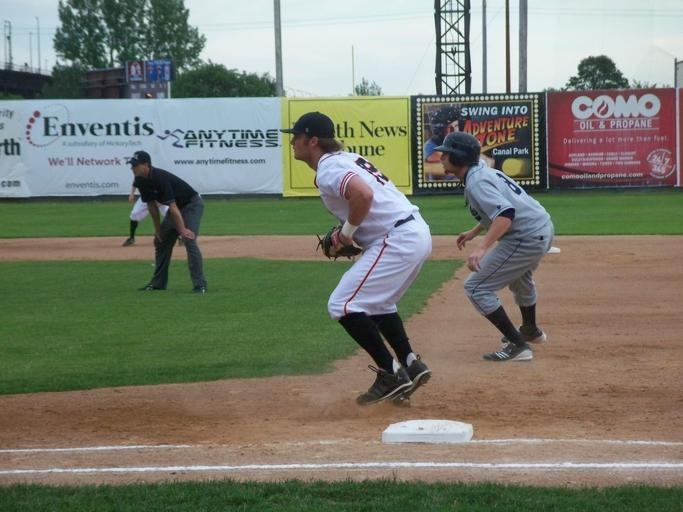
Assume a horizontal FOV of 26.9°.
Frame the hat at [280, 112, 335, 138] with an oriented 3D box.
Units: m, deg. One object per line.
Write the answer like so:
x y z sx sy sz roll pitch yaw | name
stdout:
-0.400 -1.760 19.302 0.583 0.262 0.365 7 9 2 | hat

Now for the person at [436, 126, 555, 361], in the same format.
2.224 -0.160 20.445 1.131 3.225 1.319 7 13 39 | person

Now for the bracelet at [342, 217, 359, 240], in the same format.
0.094 -0.381 19.117 0.225 0.238 0.218 -5 30 -19 | bracelet

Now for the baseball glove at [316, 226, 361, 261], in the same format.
-0.046 -0.240 19.362 0.573 0.250 0.419 7 -26 18 | baseball glove

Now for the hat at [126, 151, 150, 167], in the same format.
-3.321 -1.587 23.215 0.424 0.245 0.287 5 21 -2 | hat

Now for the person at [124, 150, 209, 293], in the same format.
-2.839 -0.575 23.574 1.230 2.316 0.969 -1 -1 1 | person
